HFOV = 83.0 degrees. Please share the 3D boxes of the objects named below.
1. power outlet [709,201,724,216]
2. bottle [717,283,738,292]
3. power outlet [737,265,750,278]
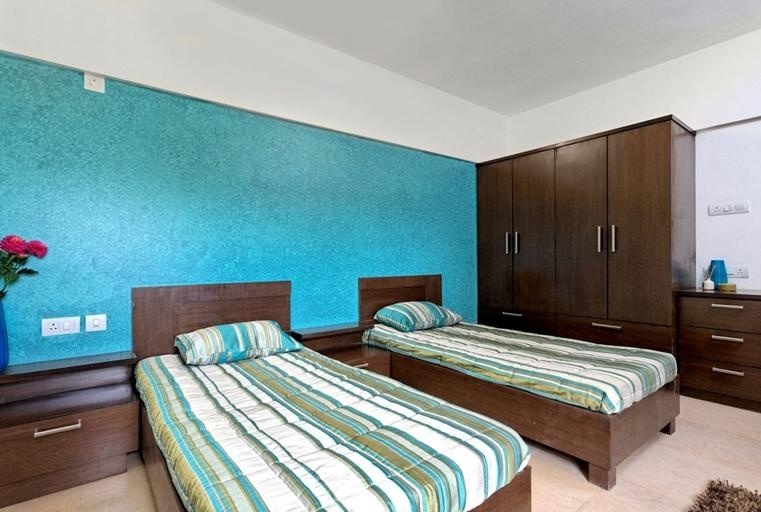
[{"bbox_3d":[3.433,-0.486,4.409,0.022,0.143,0.159,-4,7,-42],"label":"power outlet"},{"bbox_3d":[3.367,0.309,4.174,0.106,0.042,0.099,0,1,0],"label":"bottle"},{"bbox_3d":[3.614,0.152,4.292,0.015,0.123,0.132,-4,0,-31],"label":"power outlet"}]
